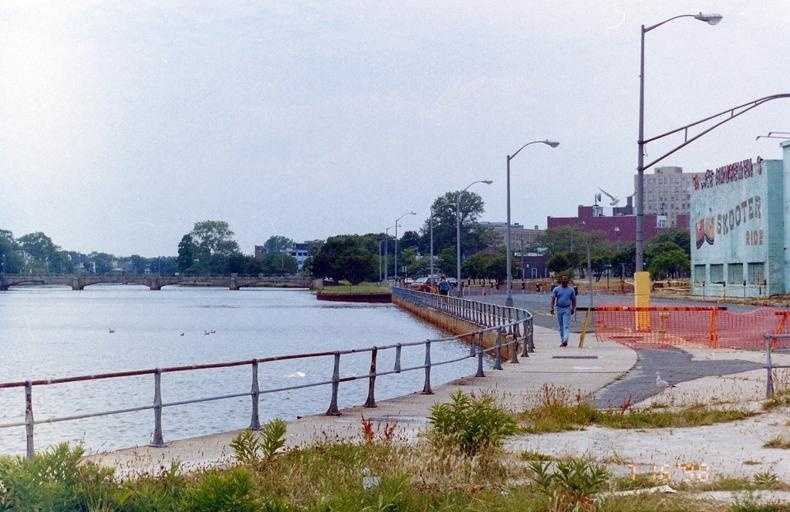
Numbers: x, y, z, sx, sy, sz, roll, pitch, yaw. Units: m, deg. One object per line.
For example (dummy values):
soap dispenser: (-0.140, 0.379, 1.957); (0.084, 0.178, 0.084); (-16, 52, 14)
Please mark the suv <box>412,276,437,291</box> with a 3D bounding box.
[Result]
suv: (2.747, 2.475, 134.439); (1.406, 1.067, 2.188); (-4, -7, 40)
